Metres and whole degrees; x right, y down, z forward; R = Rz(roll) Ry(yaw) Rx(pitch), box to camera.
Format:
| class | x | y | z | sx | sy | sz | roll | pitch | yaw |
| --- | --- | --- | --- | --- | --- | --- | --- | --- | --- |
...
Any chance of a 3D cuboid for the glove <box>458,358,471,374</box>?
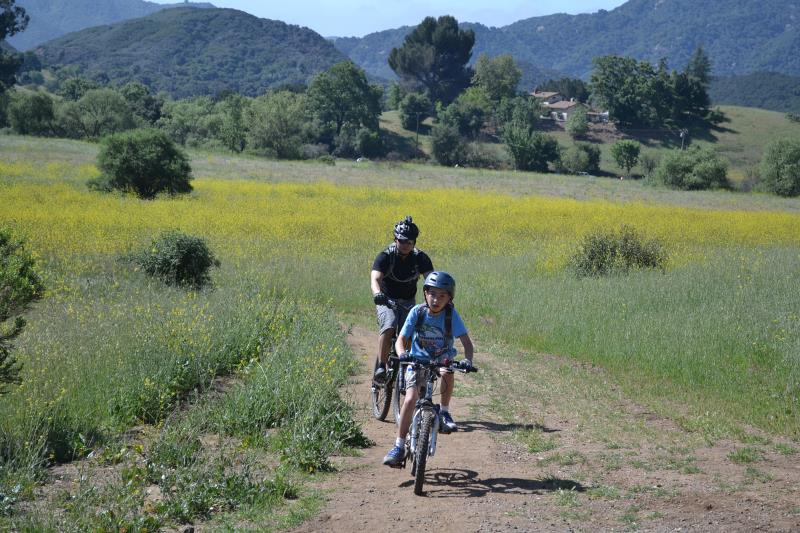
| class | x | y | z | sx | sy | sz | roll | pitch | yaw |
| --- | --- | --- | --- | --- | --- | --- | --- | --- | --- |
| glove | 2.398 | 3.689 | 35.841 | 0.356 | 0.207 | 0.525 | 13 | -21 | 0 |
